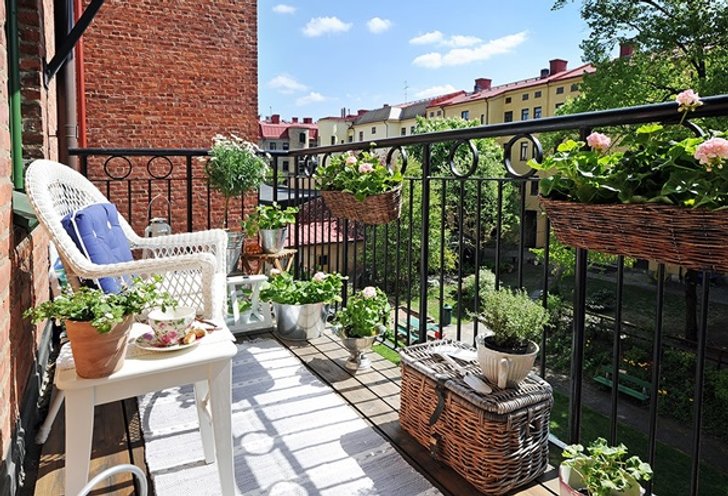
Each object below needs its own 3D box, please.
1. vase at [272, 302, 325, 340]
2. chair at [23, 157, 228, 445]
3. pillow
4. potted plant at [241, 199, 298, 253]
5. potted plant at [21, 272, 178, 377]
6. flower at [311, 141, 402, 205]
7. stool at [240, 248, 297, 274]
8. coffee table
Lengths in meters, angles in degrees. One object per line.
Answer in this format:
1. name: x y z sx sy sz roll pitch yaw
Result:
1. vase: -0.482 0.511 3.700 0.419 0.261 0.421 0 3 -22
2. chair: -1.210 0.176 2.690 0.963 1.175 0.829 -2 12 -12
3. pillow: -1.316 -0.002 2.424 0.138 0.403 0.408 -22 10 4
4. potted plant: -0.852 -0.211 4.629 0.504 0.382 0.495 2 8 9
5. potted plant: -1.013 0.279 1.958 0.426 0.295 0.444 0 -5 18
6. flower: -0.033 -0.460 3.095 0.426 0.188 0.502 2 18 -5
7. stool: -0.937 0.115 4.635 0.353 0.359 0.365 1 -2 17
8. coffee table: -0.924 0.536 2.272 0.739 0.687 0.725 -3 6 -26
